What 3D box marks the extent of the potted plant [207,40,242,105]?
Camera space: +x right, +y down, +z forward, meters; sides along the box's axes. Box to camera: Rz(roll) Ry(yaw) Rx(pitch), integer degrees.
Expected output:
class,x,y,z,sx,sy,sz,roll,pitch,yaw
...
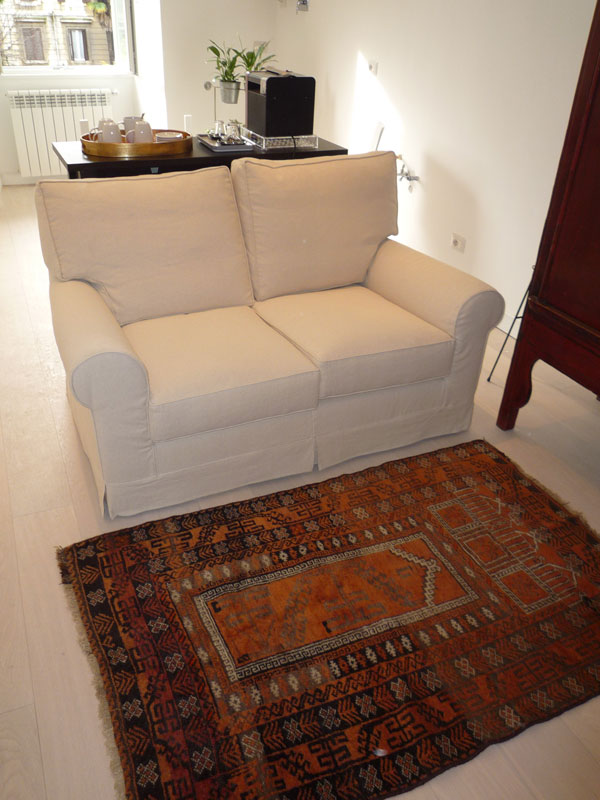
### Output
class,x,y,z,sx,sy,sz,roll,pitch,yaw
potted plant,-0.377,-1.769,3.370,0.177,0.266,0.211,-3,14,-21

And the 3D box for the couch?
class,x,y,z,sx,sy,sz,roll,pitch,yaw
couch,-0.110,-0.307,2.223,1.438,0.950,0.770,-12,32,-21
